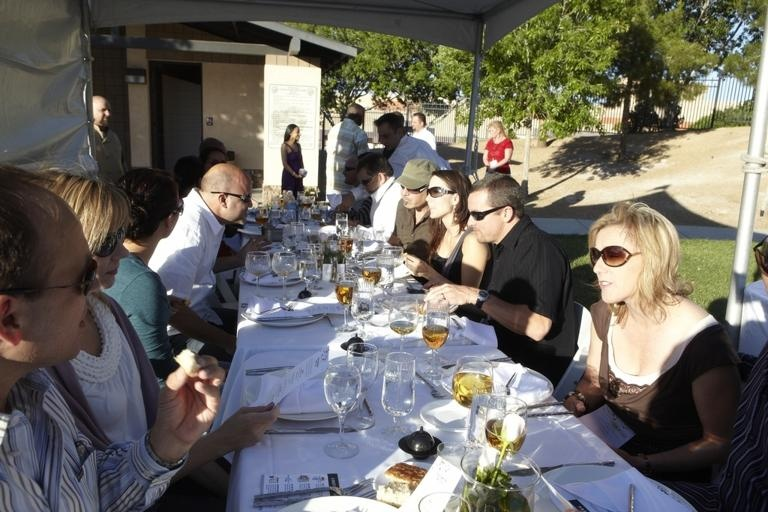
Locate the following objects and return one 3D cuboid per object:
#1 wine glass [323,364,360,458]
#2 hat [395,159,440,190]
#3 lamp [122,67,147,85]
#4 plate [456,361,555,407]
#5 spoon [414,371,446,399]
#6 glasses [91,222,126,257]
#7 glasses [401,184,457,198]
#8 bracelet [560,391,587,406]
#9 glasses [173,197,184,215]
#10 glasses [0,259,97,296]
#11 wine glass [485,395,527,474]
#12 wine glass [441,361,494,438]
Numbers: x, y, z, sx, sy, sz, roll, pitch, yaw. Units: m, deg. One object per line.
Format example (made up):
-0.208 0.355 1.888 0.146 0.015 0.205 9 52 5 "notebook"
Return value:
-0.168 0.610 2.243 0.147 0.334 0.296 1 11 -4 "wine glass"
0.324 -0.799 5.214 0.248 0.178 0.358 15 28 37 "hat"
-5.550 -4.053 12.109 0.520 0.411 0.296 3 17 0 "lamp"
0.656 0.610 2.585 0.220 0.035 0.231 8 27 17 "plate"
0.227 0.628 2.619 0.060 0.016 0.174 -16 14 -14 "spoon"
-1.166 -0.061 2.313 0.033 0.118 0.113 28 32 5 "glasses"
0.408 -0.584 4.768 0.203 0.067 0.198 9 -3 -34 "glasses"
1.045 0.776 2.996 0.111 0.132 0.085 -9 47 13 "bracelet"
-1.242 -0.308 3.310 0.032 0.093 0.075 15 -30 -38 "glasses"
-1.015 0.076 1.655 0.036 0.112 0.261 12 15 42 "glasses"
0.471 0.634 2.040 0.124 0.172 0.192 13 15 42 "wine glass"
0.414 0.645 2.417 0.148 0.255 0.165 -3 38 19 "wine glass"
